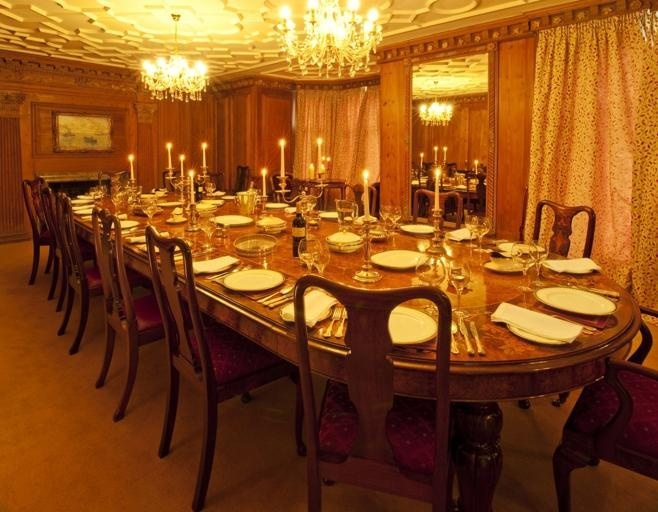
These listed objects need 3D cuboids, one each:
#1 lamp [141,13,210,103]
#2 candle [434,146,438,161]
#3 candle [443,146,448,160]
[{"bbox_3d":[-1.990,-2.592,6.461,0.853,1.294,0.860,-11,23,-37],"label":"lamp"},{"bbox_3d":[1.364,-1.293,6.377,0.075,0.221,0.205,1,13,11],"label":"candle"},{"bbox_3d":[1.475,-1.293,6.342,0.068,0.193,0.035,5,13,27],"label":"candle"}]
